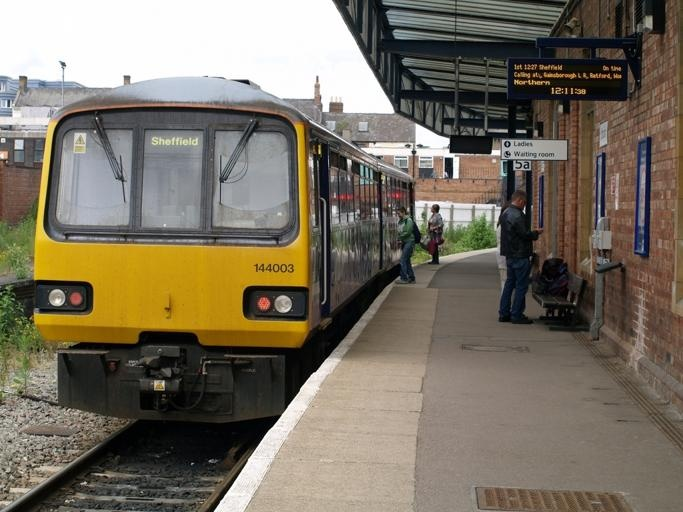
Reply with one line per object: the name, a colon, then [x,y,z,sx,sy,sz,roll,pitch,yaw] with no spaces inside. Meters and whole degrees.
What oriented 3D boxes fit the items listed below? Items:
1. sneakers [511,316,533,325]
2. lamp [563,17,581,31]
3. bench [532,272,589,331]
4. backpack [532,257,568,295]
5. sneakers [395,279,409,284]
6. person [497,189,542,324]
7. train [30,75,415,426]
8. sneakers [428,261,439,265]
sneakers: [3.146,1.121,11.369,0.404,0.210,0.149,-1,9,4]
lamp: [4.365,-4.371,12.217,0.240,0.246,0.351,0,5,-2]
bench: [3.872,0.777,11.529,0.652,0.898,1.627,3,3,11]
backpack: [3.935,0.422,12.002,0.650,0.764,0.478,6,4,31]
sneakers: [1.630,0.696,17.522,0.353,0.180,0.138,6,4,12]
person: [3.040,0.045,11.176,0.609,2.304,0.594,1,5,14]
train: [-1.060,-0.196,8.078,2.567,3.851,4.588,4,6,35]
sneakers: [3.387,0.257,23.801,0.411,0.194,0.137,5,4,11]
